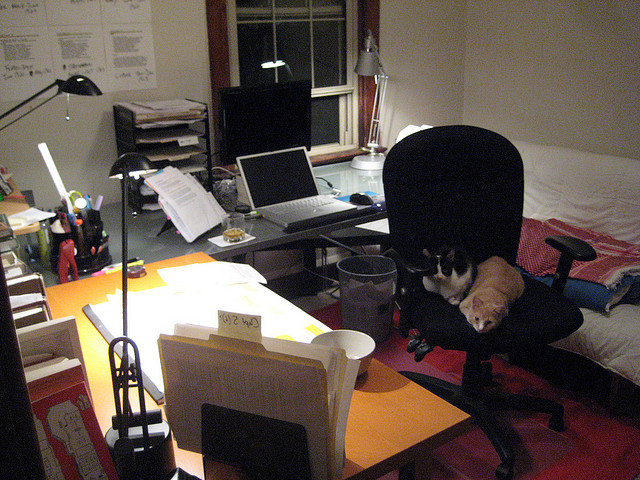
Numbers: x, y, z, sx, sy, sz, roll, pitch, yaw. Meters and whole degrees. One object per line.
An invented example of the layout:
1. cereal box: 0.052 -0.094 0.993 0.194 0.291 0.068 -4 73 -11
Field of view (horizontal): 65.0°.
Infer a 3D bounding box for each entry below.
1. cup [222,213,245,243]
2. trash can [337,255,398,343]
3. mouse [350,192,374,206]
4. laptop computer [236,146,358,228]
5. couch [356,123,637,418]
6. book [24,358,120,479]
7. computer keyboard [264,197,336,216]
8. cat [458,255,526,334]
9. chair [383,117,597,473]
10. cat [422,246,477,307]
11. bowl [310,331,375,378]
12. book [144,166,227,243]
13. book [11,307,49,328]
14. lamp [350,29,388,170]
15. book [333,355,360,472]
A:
1. cup: -0.385 -0.051 2.230 0.102 0.134 0.104 -1 15 0
2. trash can: 0.270 0.332 2.923 0.336 0.399 0.384 -1 19 4
3. mouse: 0.224 -0.215 2.620 0.155 0.067 0.052 7 16 39
4. laptop computer: -0.119 -0.283 2.549 0.435 0.281 0.524 -14 22 -31
5. couch: 0.810 0.167 2.255 1.064 1.109 1.098 -13 24 -13
6. book: -0.498 0.349 0.995 0.113 0.241 0.227 -14 23 -31
7. computer keyboard: -0.103 -0.177 2.551 0.333 0.013 0.159 -14 22 -32
8. cat: 0.666 0.195 1.961 0.221 0.109 0.325 17 55 21
9. chair: 0.722 0.146 2.230 0.869 1.269 1.023 8 22 28
10. cat: 0.535 0.134 2.109 0.202 0.226 0.327 7 13 29
11. bowl: 0.078 0.285 1.401 0.169 0.071 0.163 0 18 0
12. book: -0.607 -0.185 2.356 0.291 0.290 0.296 12 23 34
13. book: -0.689 0.181 1.201 0.068 0.049 0.044 -11 21 -26
14. lamp: 0.351 -1.016 3.606 0.253 0.909 0.740 0 19 8
15. book: 0.049 0.344 0.986 0.026 0.222 0.076 8 22 28
